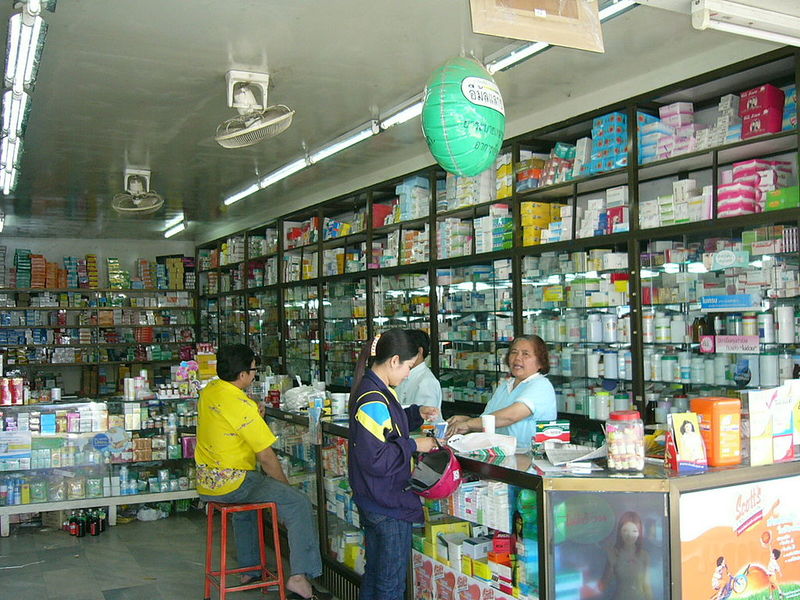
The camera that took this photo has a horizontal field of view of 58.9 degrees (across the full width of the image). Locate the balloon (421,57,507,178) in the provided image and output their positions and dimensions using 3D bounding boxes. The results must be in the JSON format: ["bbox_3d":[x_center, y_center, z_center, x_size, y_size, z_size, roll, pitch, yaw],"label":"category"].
[{"bbox_3d":[0.385,-1.073,4.279,0.468,0.762,0.515,1,-1,16],"label":"balloon"}]

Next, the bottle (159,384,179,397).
[{"bbox_3d":[-2.426,0.952,7.414,0.156,0.120,0.154,0,-3,0],"label":"bottle"}]

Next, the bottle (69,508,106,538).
[{"bbox_3d":[-3.114,2.203,7.079,0.226,0.234,0.250,1,2,8],"label":"bottle"}]

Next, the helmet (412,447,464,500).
[{"bbox_3d":[0.220,1.022,4.186,0.207,0.267,0.318,15,-36,-41],"label":"helmet"}]

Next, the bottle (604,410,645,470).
[{"bbox_3d":[1.273,0.779,3.945,0.248,0.324,0.171,-3,-7,-2],"label":"bottle"}]
